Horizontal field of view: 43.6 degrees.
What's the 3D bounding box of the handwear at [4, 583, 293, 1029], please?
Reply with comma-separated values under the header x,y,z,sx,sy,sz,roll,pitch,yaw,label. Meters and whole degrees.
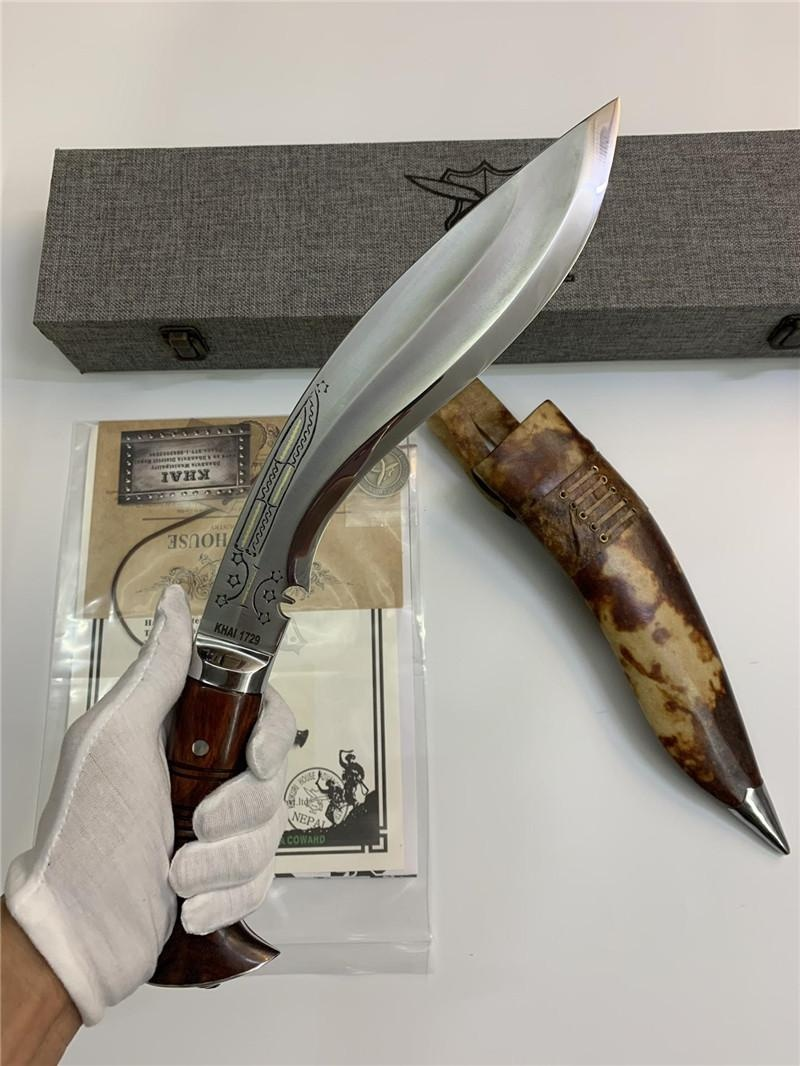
x,y,z,sx,sy,sz,roll,pitch,yaw,label
-0.245,0.260,1.004,0.240,0.130,0.373,17,74,-14,handwear
